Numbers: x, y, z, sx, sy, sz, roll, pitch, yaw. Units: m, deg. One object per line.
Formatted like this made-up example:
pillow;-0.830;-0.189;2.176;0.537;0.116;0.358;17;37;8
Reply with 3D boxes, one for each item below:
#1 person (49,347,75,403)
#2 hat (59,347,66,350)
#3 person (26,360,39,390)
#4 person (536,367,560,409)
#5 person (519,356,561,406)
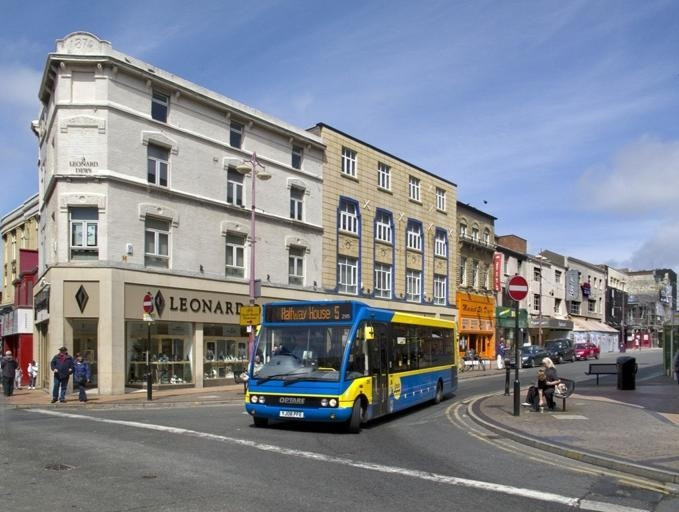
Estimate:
person;-10.387;4.428;31.281;0.773;2.069;0.988;0;0;-22
hat;-10.289;3.461;31.114;0.281;0.147;0.426;2;-7;-10
person;-14.559;5.664;39.744;0.390;1.338;1.471;0;0;-23
person;6.676;4.301;27.065;0.715;1.440;0.672;-9;4;-31
person;6.563;4.148;27.136;1.102;1.656;0.773;1;2;-20
